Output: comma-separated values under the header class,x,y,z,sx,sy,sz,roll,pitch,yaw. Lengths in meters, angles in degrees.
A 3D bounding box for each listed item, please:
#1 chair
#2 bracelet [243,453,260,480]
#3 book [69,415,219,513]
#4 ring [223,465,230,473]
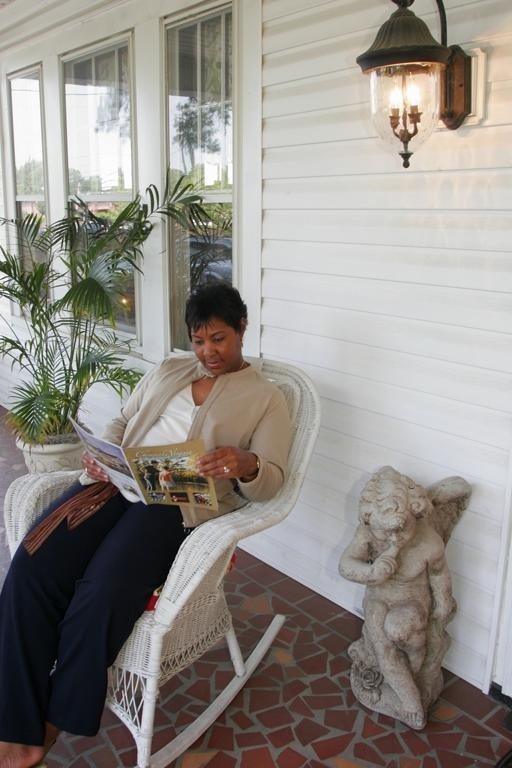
class,x,y,z,sx,sy,sz,roll,pitch,yaw
chair,-0.147,0.535,1.840,0.835,0.889,1.051,18,29,34
bracelet,-0.008,0.210,1.504,0.026,0.061,0.049,25,3,-18
book,-0.264,0.201,1.445,0.277,0.207,0.054,12,53,22
ring,-0.071,0.202,1.393,0.006,0.016,0.012,-16,3,13
